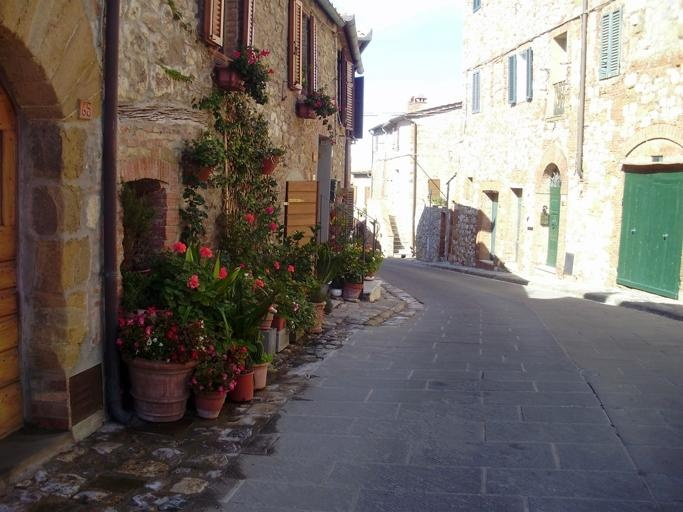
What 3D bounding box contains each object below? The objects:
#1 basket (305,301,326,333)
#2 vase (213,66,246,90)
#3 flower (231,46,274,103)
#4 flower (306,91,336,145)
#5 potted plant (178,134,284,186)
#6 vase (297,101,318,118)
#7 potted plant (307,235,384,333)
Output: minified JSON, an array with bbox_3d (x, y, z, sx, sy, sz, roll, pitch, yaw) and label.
[{"bbox_3d":[-0.400,0.954,8.716,0.366,0.424,0.395,-3,10,-28],"label":"basket"},{"bbox_3d":[-1.444,-2.235,7.094,0.262,0.220,0.271,11,13,38],"label":"vase"},{"bbox_3d":[-1.186,-2.419,7.382,0.401,0.657,0.723,0,5,8],"label":"flower"},{"bbox_3d":[-0.365,-2.752,10.930,0.504,0.997,0.573,-22,27,-15],"label":"flower"},{"bbox_3d":[-1.444,-1.179,6.908,0.981,0.472,0.514,-6,27,-43],"label":"potted plant"},{"bbox_3d":[-0.687,-2.766,10.584,0.326,0.296,0.341,1,5,9],"label":"vase"},{"bbox_3d":[0.019,0.252,11.033,1.646,1.921,1.327,7,-8,-29],"label":"potted plant"}]
